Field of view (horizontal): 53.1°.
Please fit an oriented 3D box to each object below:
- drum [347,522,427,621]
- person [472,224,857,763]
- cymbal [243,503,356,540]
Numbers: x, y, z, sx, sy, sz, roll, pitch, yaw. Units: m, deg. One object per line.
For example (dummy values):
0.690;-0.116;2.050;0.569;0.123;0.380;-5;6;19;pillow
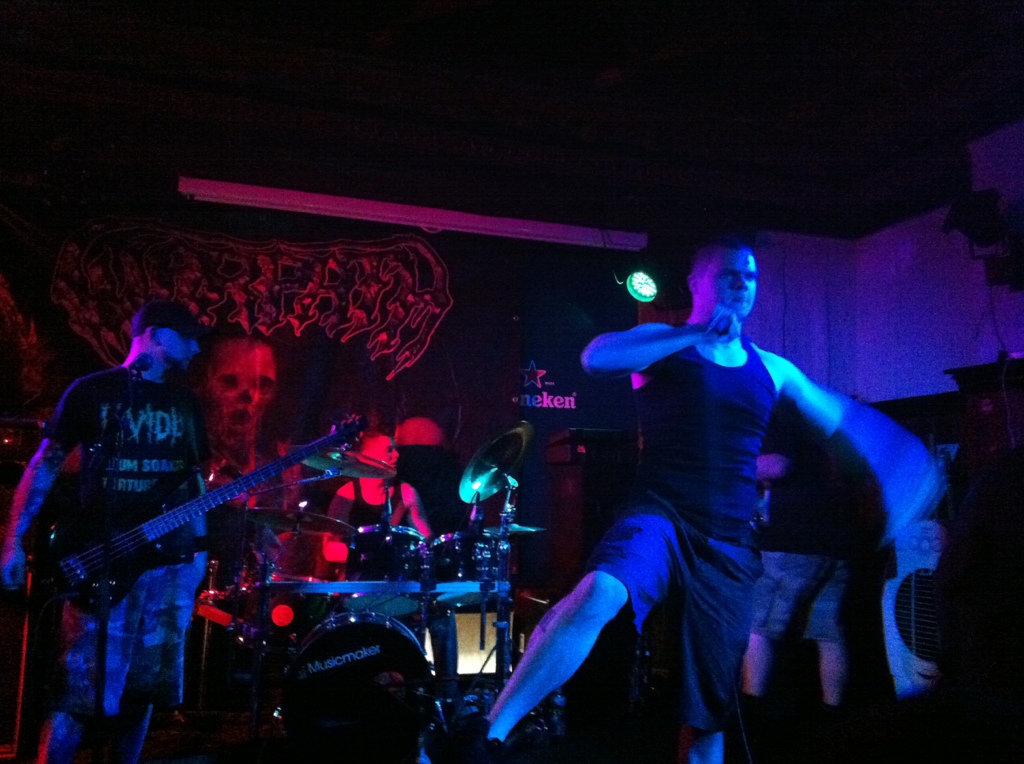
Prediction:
-0.872;1.303;7.121;0.616;0.629;0.625;1;-7;41;drum
0.762;0.570;5.261;1.228;2.644;0.585;8;-15;-17;person
-1.398;0.922;6.761;0.376;0.087;0.378;3;-17;36;cymbal
